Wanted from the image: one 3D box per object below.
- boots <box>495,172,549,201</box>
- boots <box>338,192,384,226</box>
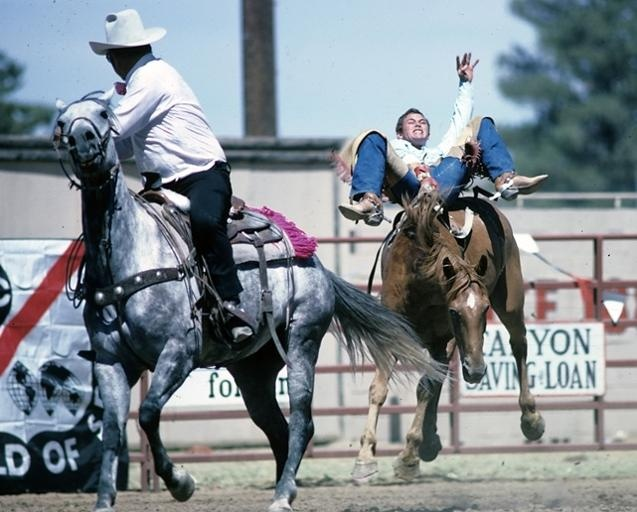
[{"bbox_3d":[2.079,-0.705,16.897,0.525,0.287,0.312,2,9,12],"label":"boots"},{"bbox_3d":[0.424,-0.486,16.790,0.412,0.321,0.154,19,-40,-13],"label":"boots"}]
